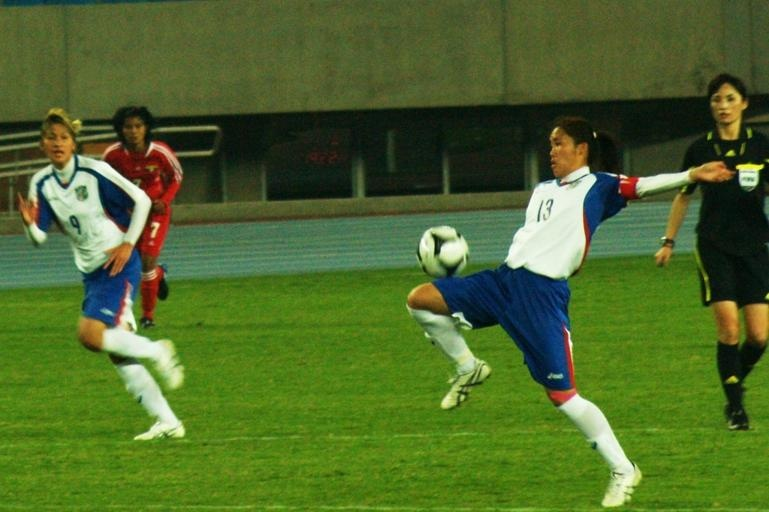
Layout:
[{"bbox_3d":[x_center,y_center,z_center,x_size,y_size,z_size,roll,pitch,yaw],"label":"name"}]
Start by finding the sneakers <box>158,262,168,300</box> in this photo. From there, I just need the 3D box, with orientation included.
[{"bbox_3d":[-2.859,0.377,17.875,0.173,0.208,0.468,-4,29,-3],"label":"sneakers"}]

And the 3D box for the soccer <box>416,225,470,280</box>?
[{"bbox_3d":[0.683,0.018,14.827,0.599,0.536,0.550,7,-5,10],"label":"soccer"}]

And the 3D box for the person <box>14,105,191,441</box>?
[{"bbox_3d":[-2.978,0.201,14.718,1.624,3.492,0.822,3,13,24],"label":"person"}]

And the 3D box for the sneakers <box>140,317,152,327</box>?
[{"bbox_3d":[-2.961,0.862,17.137,0.107,0.090,0.140,5,-6,2],"label":"sneakers"}]

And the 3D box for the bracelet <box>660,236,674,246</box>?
[{"bbox_3d":[3.110,-0.153,14.967,0.117,0.107,0.104,19,-32,-18],"label":"bracelet"}]
